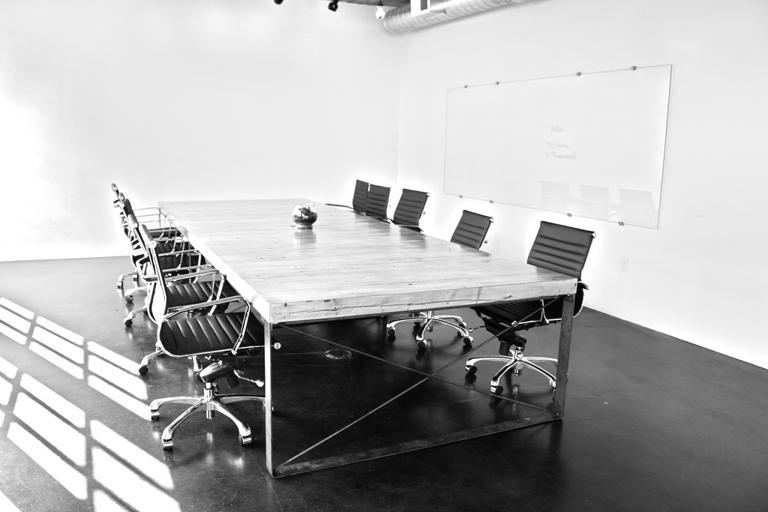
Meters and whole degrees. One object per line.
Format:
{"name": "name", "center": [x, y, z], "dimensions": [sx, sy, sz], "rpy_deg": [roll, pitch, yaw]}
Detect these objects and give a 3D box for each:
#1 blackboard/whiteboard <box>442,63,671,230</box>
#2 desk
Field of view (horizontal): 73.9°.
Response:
{"name": "blackboard/whiteboard", "center": [2.320, -1.449, 6.668], "dimensions": [0.057, 1.359, 2.977], "rpy_deg": [-2, 11, -29]}
{"name": "desk", "center": [-0.419, 0.406, 4.803], "dimensions": [2.296, 1.203, 3.593], "rpy_deg": [-6, 17, -29]}
